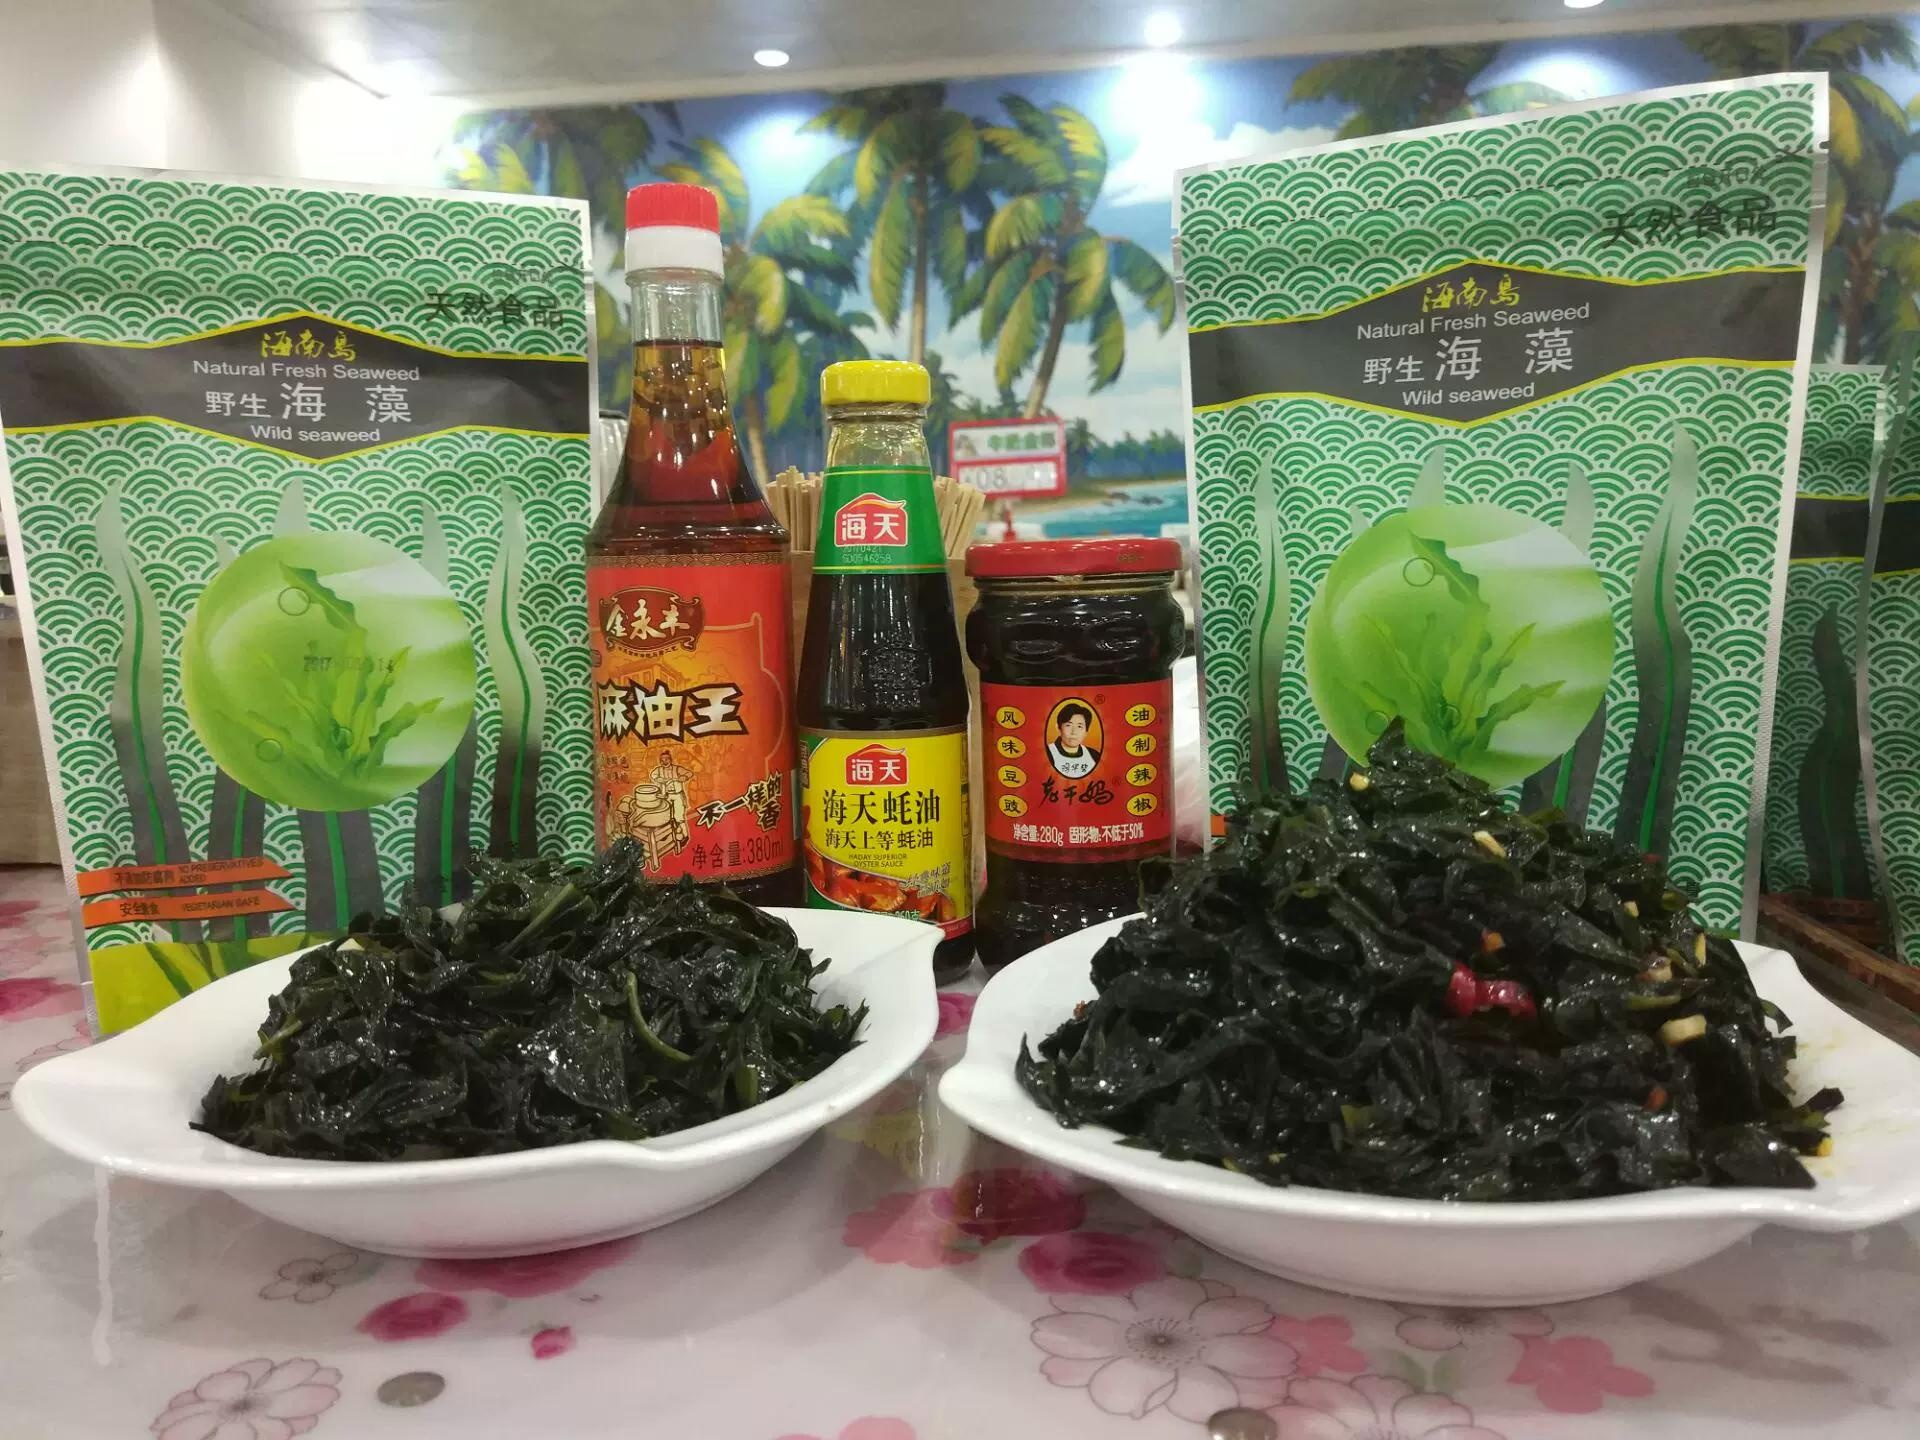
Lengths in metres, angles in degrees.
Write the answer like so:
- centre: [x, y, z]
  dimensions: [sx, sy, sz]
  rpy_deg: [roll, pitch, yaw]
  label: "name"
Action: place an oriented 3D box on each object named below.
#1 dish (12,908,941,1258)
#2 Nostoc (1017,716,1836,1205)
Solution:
- centre: [-0.313, 0.198, 0.971]
  dimensions: [0.415, 0.069, 0.346]
  rpy_deg: [-1, 1, -35]
  label: "dish"
- centre: [0.346, 0.164, 1.011]
  dimensions: [0.391, 0.142, 0.358]
  rpy_deg: [-2, 3, 12]
  label: "Nostoc"
